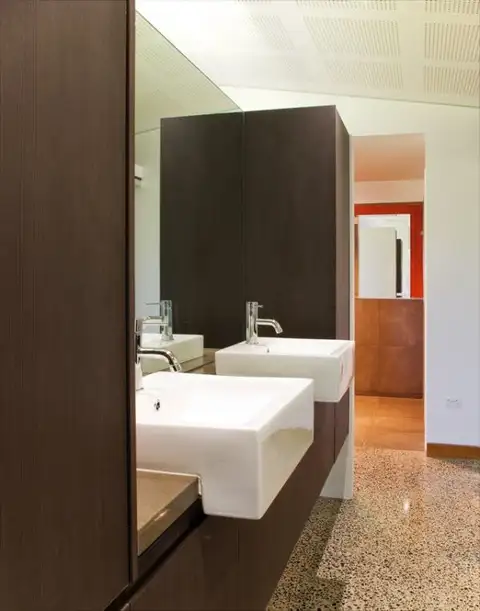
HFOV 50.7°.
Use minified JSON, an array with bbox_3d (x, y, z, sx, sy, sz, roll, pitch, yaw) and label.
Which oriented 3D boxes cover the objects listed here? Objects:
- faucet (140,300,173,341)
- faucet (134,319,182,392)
[{"bbox_3d":[-0.265,0.055,1.675,0.104,0.149,0.118,-12,9,-40],"label":"faucet"},{"bbox_3d":[-0.205,0.113,1.204,0.105,0.208,0.053,4,30,-6],"label":"faucet"}]
